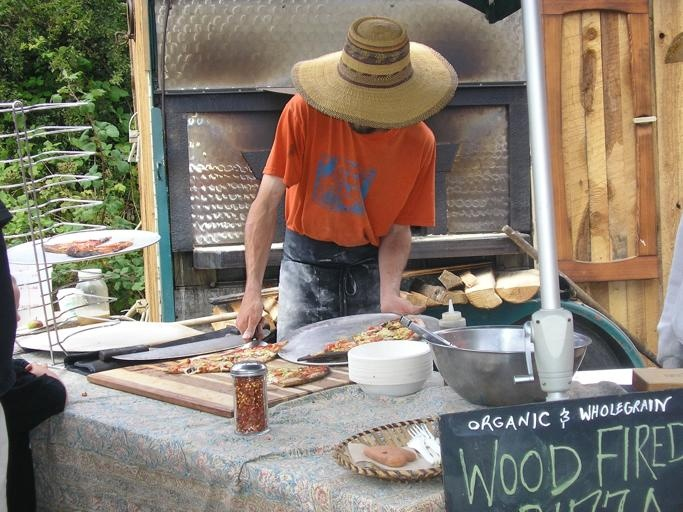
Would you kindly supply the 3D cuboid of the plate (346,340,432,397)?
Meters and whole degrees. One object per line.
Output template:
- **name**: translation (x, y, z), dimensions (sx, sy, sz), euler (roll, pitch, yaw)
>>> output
- **plate**: translation (0.159, 0.364, 2.797), dimensions (0.318, 0.184, 0.246), euler (-5, 13, -30)

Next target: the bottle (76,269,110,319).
- **bottle**: translation (-1.188, 0.189, 3.657), dimensions (0.140, 0.241, 0.454), euler (-6, 7, -18)

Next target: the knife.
- **knife**: translation (-0.682, 0.398, 3.281), dimensions (0.646, 0.043, 0.168), euler (-5, 15, -42)

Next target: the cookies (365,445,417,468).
- **cookies**: translation (0.137, 0.570, 2.193), dimensions (0.081, 0.016, 0.076), euler (4, 4, 19)

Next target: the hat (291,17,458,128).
- **hat**: translation (0.172, -0.867, 3.591), dimensions (0.784, 0.544, 0.534), euler (-4, 6, -12)

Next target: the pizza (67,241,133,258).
- **pizza**: translation (-1.020, -0.027, 3.233), dimensions (0.242, 0.051, 0.205), euler (0, 7, 23)

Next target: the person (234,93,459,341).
- **person**: translation (0.009, -0.221, 3.929), dimensions (0.667, 1.524, 0.667), euler (0, 2, 14)

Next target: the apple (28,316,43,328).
- **apple**: translation (-1.431, 0.307, 3.578), dimensions (0.045, 0.035, 0.041), euler (3, 16, 2)

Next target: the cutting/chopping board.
- **cutting/chopping board**: translation (-0.541, 0.393, 2.785), dimensions (0.348, 0.013, 0.394), euler (5, 6, 40)
